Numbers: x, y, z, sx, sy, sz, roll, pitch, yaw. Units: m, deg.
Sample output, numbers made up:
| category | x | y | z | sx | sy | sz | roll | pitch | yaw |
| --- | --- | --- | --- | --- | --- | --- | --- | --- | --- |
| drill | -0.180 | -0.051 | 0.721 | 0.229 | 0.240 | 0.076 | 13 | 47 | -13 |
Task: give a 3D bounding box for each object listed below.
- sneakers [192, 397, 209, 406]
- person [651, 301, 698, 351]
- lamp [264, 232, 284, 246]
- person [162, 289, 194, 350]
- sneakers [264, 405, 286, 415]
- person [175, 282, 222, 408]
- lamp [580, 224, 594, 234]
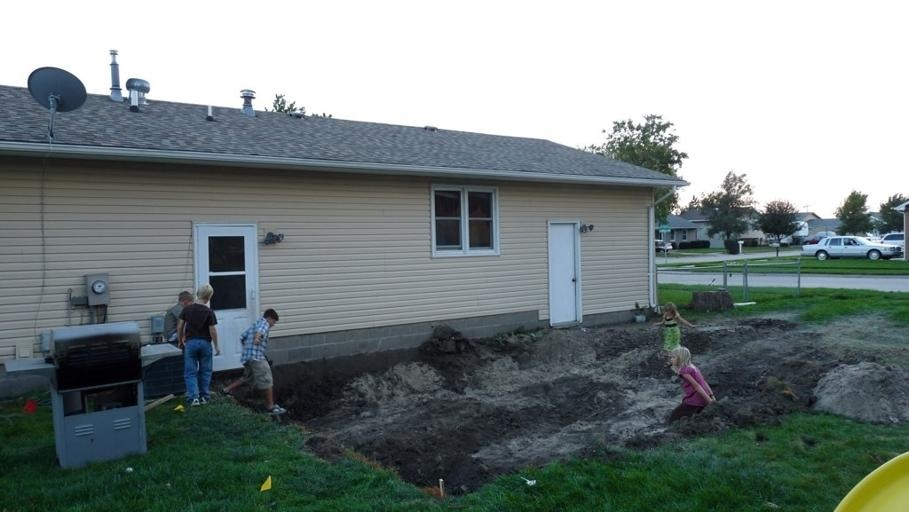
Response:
| category | x | y | z | sx | sy | sz | roll | pitch | yaw |
| --- | --- | --- | --- | --- | --- | --- | --- | --- | --- |
| sneakers | -4.980 | 2.866 | 12.879 | 0.311 | 0.126 | 0.109 | 6 | -9 | -34 |
| person | 5.529 | 1.788 | 16.559 | 1.117 | 1.421 | 0.665 | -7 | -7 | 36 |
| lamp | -3.997 | -0.381 | 14.613 | 0.472 | 0.292 | 0.154 | 3 | 15 | -15 |
| person | -5.737 | 1.432 | 13.912 | 0.765 | 1.295 | 0.658 | -7 | 16 | -34 |
| sneakers | -3.623 | 3.145 | 13.393 | 0.425 | 0.148 | 0.199 | -1 | 1 | 17 |
| person | -4.981 | 1.735 | 12.877 | 0.639 | 2.248 | 0.834 | -2 | 17 | -32 |
| lamp | 3.651 | -0.743 | 18.147 | 0.376 | 0.242 | 0.239 | 2 | 10 | -14 |
